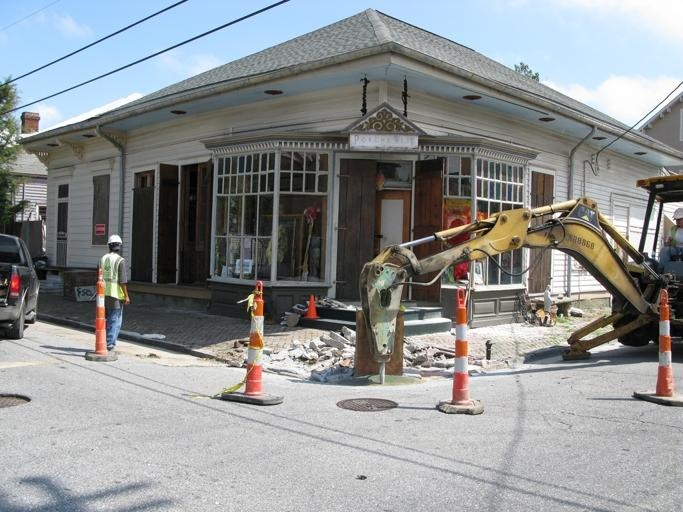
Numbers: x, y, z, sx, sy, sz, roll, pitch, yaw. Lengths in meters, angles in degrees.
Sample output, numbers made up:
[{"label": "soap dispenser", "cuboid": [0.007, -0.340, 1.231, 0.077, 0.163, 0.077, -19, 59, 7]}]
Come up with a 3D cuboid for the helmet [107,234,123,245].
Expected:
[{"label": "helmet", "cuboid": [-5.030, -0.365, 14.086, 0.357, 0.260, 0.494, 3, -8, -25]}]

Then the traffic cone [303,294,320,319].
[{"label": "traffic cone", "cuboid": [-0.573, 1.115, 13.443, 0.388, 0.550, 0.407, -4, -9, 40]}]
